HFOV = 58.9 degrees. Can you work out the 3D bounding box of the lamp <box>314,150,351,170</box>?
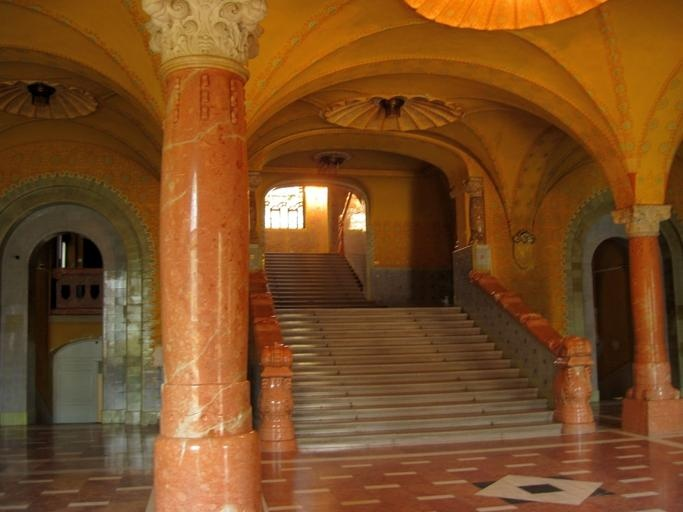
[{"bbox_3d":[-0.216,-2.430,15.387,0.557,0.102,0.492,-7,-17,18],"label":"lamp"}]
